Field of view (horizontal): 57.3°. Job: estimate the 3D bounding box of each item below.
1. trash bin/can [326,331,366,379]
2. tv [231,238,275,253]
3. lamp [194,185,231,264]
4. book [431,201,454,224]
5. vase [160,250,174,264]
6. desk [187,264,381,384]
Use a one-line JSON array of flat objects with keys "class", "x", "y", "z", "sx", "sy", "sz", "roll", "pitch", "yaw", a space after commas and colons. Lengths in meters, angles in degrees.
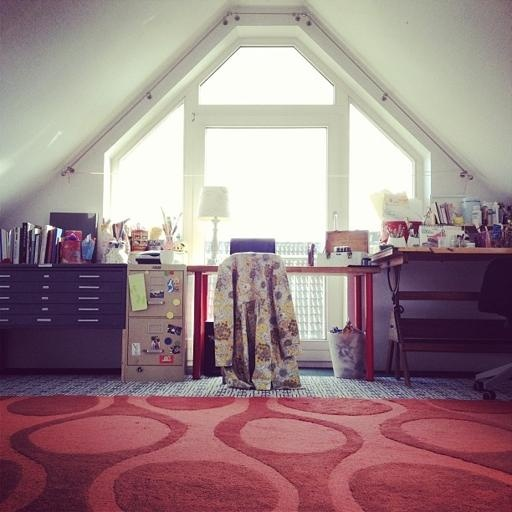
[{"class": "trash bin/can", "x": 0.563, "y": 0.664, "z": 3.207, "sx": 0.291, "sy": 0.263, "sz": 0.291, "roll": 1, "pitch": -4, "yaw": -5}, {"class": "tv", "x": -0.030, "y": -0.076, "z": 3.218, "sx": 0.308, "sy": 0.099, "sz": 0.070, "roll": -1, "pitch": 0, "yaw": -4}, {"class": "lamp", "x": -0.327, "y": -0.230, "z": 3.432, "sx": 0.226, "sy": 0.528, "sz": 0.273, "roll": -1, "pitch": 0, "yaw": -39}, {"class": "book", "x": 1.339, "y": -0.313, "z": 3.341, "sx": 0.123, "sy": 0.148, "sz": 0.055, "roll": 0, "pitch": -2, "yaw": 12}, {"class": "vase", "x": -0.593, "y": 0.005, "z": 3.102, "sx": 0.093, "sy": 0.081, "sz": 0.088, "roll": 1, "pitch": -4, "yaw": -1}, {"class": "desk", "x": 0.187, "y": 0.372, "z": 3.321, "sx": 1.247, "sy": 0.718, "sz": 0.579, "roll": 0, "pitch": 7, "yaw": 4}]
